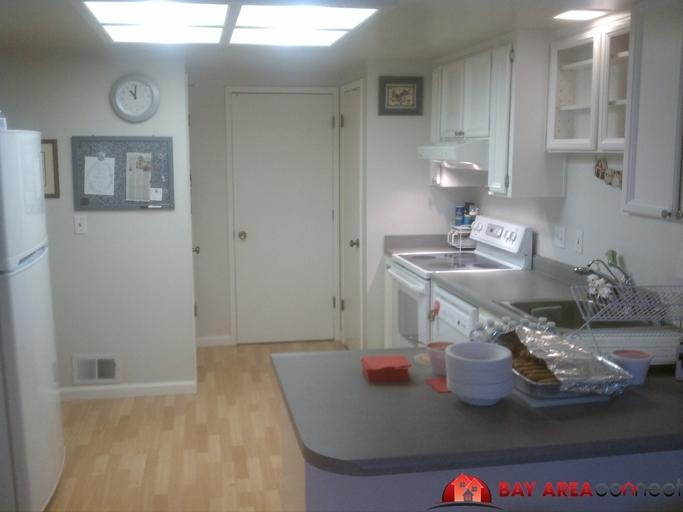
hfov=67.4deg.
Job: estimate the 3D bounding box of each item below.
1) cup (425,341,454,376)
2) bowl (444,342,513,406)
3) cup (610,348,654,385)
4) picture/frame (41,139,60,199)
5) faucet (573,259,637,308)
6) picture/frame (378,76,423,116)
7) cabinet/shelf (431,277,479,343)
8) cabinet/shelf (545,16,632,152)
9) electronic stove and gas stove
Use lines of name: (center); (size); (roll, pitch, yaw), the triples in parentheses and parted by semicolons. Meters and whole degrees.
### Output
cup: (0.370, 0.390, 1.966); (0.103, 0.095, 0.113); (0, 2, 0)
bowl: (0.453, 0.368, 1.763); (0.201, 0.152, 0.203); (-1, 11, 0)
cup: (1.060, 0.391, 1.864); (0.129, 0.098, 0.132); (-1, 4, 0)
picture/frame: (-2.118, -0.634, 3.718); (0.309, 0.414, 0.017); (10, 11, 44)
faucet: (1.349, 0.137, 2.605); (0.222, 0.187, 0.372); (-1, 7, -2)
picture/frame: (0.483, -1.369, 4.344); (0.331, 0.284, 0.035); (0, 5, -10)
cabinet/shelf: (0.710, 0.390, 3.289); (0.317, 0.446, 0.461); (1, 7, -4)
cabinet/shelf: (1.469, -0.896, 2.825); (0.222, 0.644, 0.680); (-7, 11, -31)
electronic stove and gas stove: (0.840, 0.082, 3.952); (0.695, 0.134, 0.823); (-3, 13, -15)
